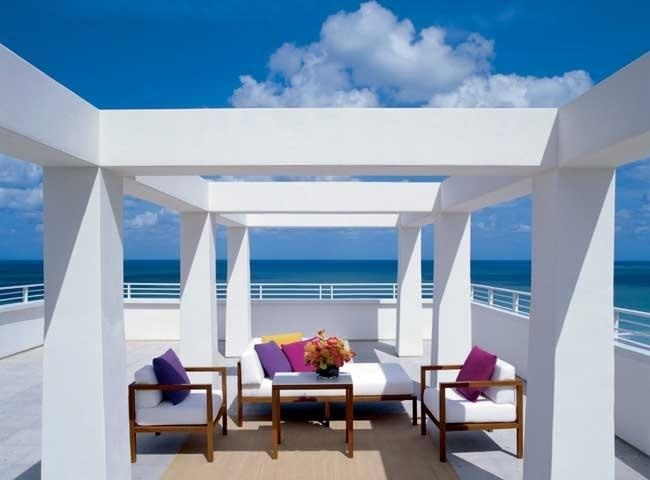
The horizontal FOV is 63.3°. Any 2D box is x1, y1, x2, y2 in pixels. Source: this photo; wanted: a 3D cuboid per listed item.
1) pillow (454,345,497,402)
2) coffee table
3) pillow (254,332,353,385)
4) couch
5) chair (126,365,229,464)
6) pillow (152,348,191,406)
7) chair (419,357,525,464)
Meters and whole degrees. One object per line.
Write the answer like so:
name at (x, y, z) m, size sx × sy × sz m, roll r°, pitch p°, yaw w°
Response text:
pillow at (2.280, 1.968, 7.900) m, size 0.370 × 0.714 × 0.753 m, roll 6°, pitch 4°, yaw -6°
coffee table at (-0.174, 2.460, 7.591) m, size 0.972 × 1.014 × 1.103 m, roll -1°, pitch -13°, yaw 0°
pillow at (-0.086, 1.929, 8.062) m, size 1.115 × 0.361 × 0.994 m, roll 11°, pitch 11°, yaw -29°
couch at (-0.010, 2.269, 8.440) m, size 2.247 × 1.016 × 1.395 m, roll 0°, pitch -1°, yaw -5°
chair at (-2.112, 2.271, 7.920) m, size 1.118 × 1.521 × 1.544 m, roll 0°, pitch -5°, yaw -1°
pillow at (-2.238, 2.021, 7.806) m, size 0.405 × 0.731 × 0.852 m, roll -5°, pitch -1°, yaw -2°
chair at (2.141, 2.387, 7.943) m, size 1.239 × 1.481 × 1.465 m, roll 1°, pitch -11°, yaw 2°
